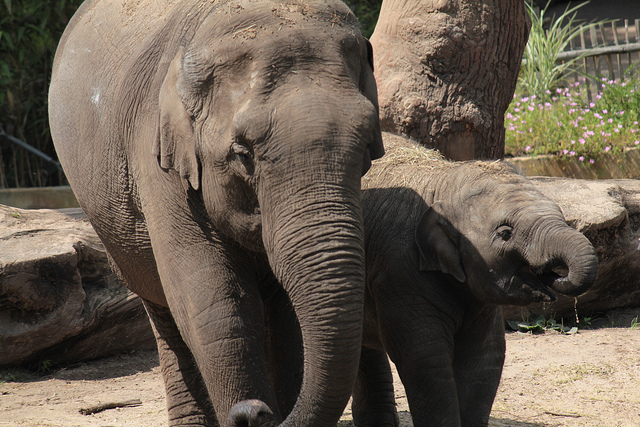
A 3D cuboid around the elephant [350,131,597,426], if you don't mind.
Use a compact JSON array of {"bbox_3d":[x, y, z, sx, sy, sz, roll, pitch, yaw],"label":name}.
[{"bbox_3d":[0.866,0.479,5.324,1.287,1.558,0.730,0,13,11],"label":"elephant"}]
